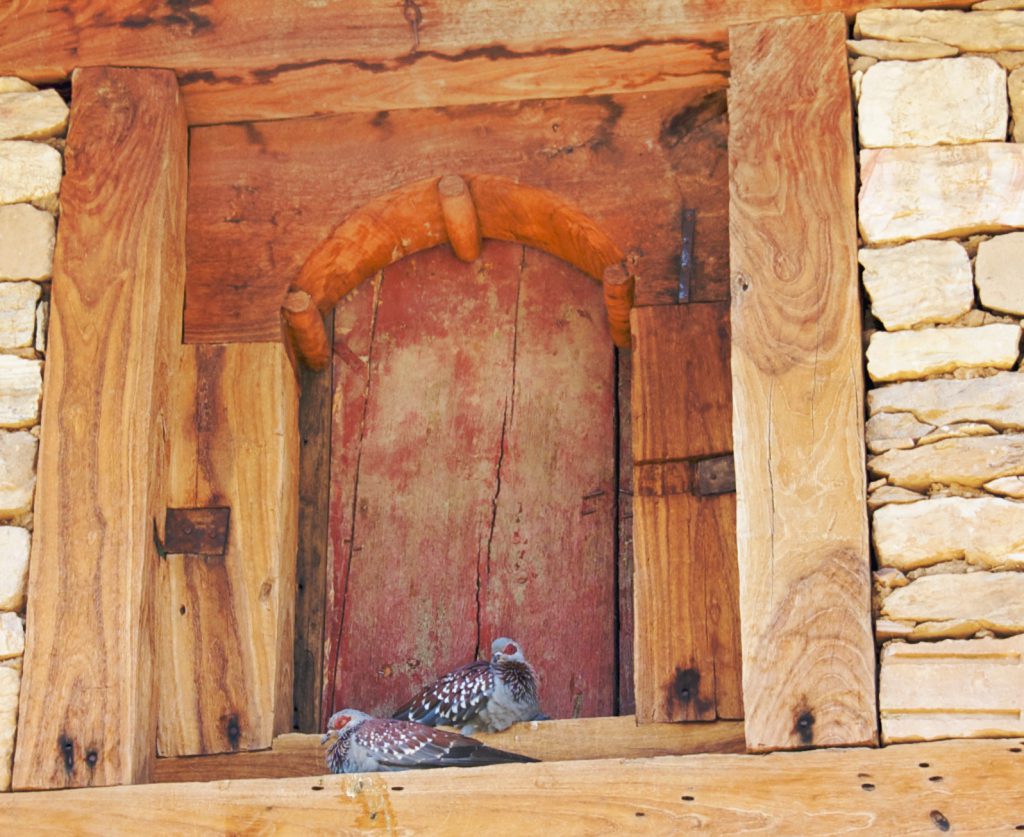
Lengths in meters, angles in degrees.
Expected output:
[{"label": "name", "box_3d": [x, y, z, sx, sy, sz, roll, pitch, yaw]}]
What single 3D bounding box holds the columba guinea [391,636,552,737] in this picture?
[{"label": "columba guinea", "box_3d": [-0.147, 0.768, 7.724, 0.412, 0.311, 0.245, 1, -1, 19]}]
